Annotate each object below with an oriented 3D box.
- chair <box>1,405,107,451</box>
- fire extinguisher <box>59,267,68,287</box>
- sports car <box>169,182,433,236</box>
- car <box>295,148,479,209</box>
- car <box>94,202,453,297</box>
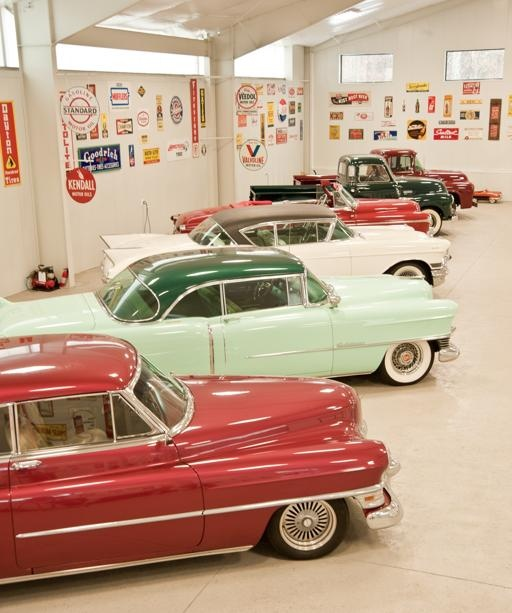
[{"bbox_3d":[-0.964,0.572,2.445,0.346,0.202,0.116,-2,-2,-15],"label":"chair"},{"bbox_3d":[-3.306,-0.501,9.053,0.187,0.290,0.076,7,5,22],"label":"fire extinguisher"},{"bbox_3d":[0.911,-1.814,9.672,4.285,1.091,1.739,-4,16,-9],"label":"sports car"},{"bbox_3d":[3.404,-3.414,14.316,5.184,1.700,1.791,-2,16,-2],"label":"car"},{"bbox_3d":[0.436,-0.867,7.329,4.476,1.025,1.765,-1,12,-10],"label":"car"}]
